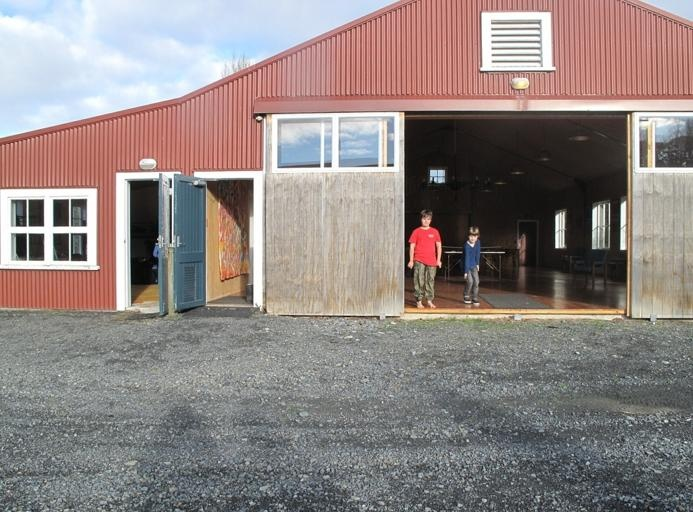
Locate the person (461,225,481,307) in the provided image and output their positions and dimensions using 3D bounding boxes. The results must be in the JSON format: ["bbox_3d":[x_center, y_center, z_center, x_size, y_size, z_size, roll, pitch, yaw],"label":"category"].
[{"bbox_3d":[2.233,0.189,10.512,0.309,1.382,1.602,2,10,11],"label":"person"}]

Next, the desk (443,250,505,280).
[{"bbox_3d":[3.531,0.269,16.413,1.528,0.897,0.829,1,3,12],"label":"desk"}]

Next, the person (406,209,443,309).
[{"bbox_3d":[1.347,0.049,10.072,0.532,1.655,1.024,2,9,6],"label":"person"}]

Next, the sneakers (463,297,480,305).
[{"bbox_3d":[2.163,0.792,10.248,0.099,0.133,0.310,0,-2,-13],"label":"sneakers"}]
